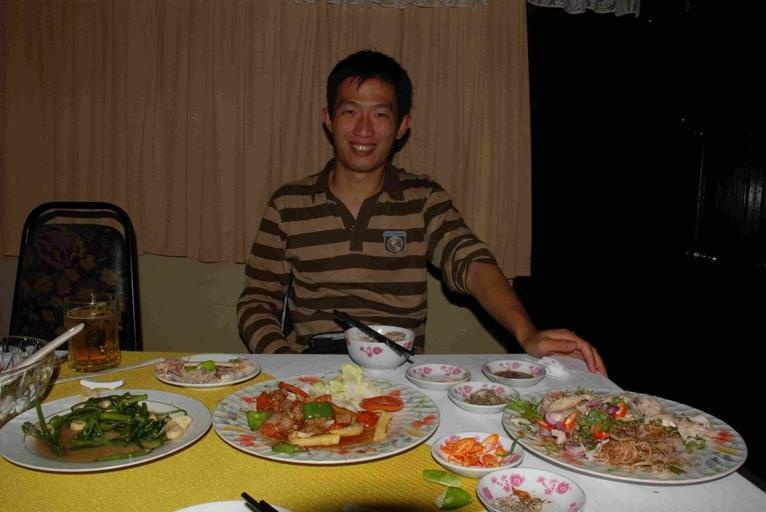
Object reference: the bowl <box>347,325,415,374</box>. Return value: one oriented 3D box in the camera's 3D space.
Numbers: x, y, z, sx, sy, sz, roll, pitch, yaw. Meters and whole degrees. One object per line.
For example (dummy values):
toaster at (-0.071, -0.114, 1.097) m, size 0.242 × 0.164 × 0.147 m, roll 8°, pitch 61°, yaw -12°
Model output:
bowl at (-0.023, 0.320, 2.051) m, size 0.169 × 0.086 × 0.168 m, roll 2°, pitch 2°, yaw 0°
